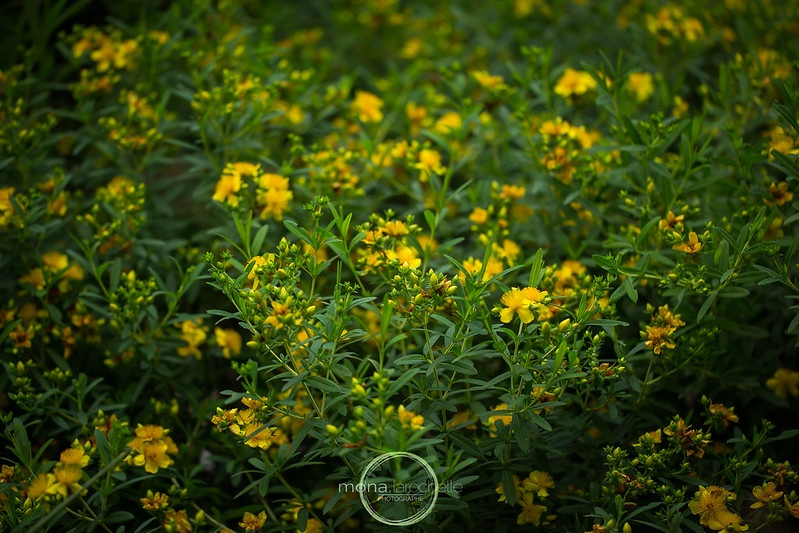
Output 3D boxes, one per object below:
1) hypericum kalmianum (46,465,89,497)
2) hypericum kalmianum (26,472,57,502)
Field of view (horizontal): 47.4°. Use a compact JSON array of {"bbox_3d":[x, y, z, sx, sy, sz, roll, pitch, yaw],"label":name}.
[{"bbox_3d":[-1.052,0.678,2.894,0.102,0.060,0.101,-24,47,-29],"label":"hypericum kalmianum"},{"bbox_3d":[-1.130,0.704,2.898,0.096,0.083,0.049,8,24,16],"label":"hypericum kalmianum"}]
